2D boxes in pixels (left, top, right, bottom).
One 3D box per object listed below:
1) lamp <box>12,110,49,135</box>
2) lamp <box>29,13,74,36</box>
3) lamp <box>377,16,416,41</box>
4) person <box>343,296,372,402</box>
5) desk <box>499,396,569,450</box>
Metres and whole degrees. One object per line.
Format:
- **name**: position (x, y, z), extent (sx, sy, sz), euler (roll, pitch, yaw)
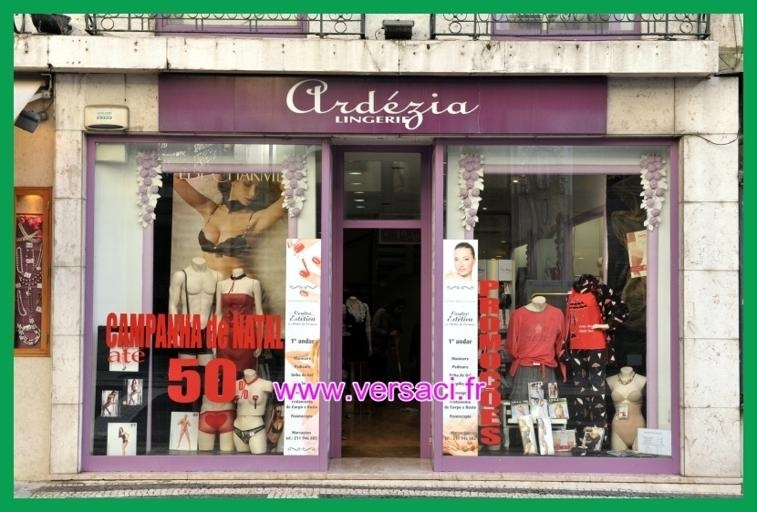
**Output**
- **lamp**: position (-4.549, -1.750, 17.961), extent (0.410, 0.286, 0.166), euler (0, -3, -14)
- **lamp**: position (-4.267, -3.016, 17.991), extent (0.394, 0.278, 0.112), euler (0, -6, -16)
- **lamp**: position (0.241, -2.932, 17.942), extent (0.486, 0.300, 0.277), euler (0, -6, -1)
- **person**: position (-0.348, 1.193, 19.396), extent (0.298, 1.234, 0.799), euler (-1, -3, 12)
- **desk**: position (2.006, 2.252, 18.067), extent (0.756, 0.643, 0.241), euler (0, -1, 2)
